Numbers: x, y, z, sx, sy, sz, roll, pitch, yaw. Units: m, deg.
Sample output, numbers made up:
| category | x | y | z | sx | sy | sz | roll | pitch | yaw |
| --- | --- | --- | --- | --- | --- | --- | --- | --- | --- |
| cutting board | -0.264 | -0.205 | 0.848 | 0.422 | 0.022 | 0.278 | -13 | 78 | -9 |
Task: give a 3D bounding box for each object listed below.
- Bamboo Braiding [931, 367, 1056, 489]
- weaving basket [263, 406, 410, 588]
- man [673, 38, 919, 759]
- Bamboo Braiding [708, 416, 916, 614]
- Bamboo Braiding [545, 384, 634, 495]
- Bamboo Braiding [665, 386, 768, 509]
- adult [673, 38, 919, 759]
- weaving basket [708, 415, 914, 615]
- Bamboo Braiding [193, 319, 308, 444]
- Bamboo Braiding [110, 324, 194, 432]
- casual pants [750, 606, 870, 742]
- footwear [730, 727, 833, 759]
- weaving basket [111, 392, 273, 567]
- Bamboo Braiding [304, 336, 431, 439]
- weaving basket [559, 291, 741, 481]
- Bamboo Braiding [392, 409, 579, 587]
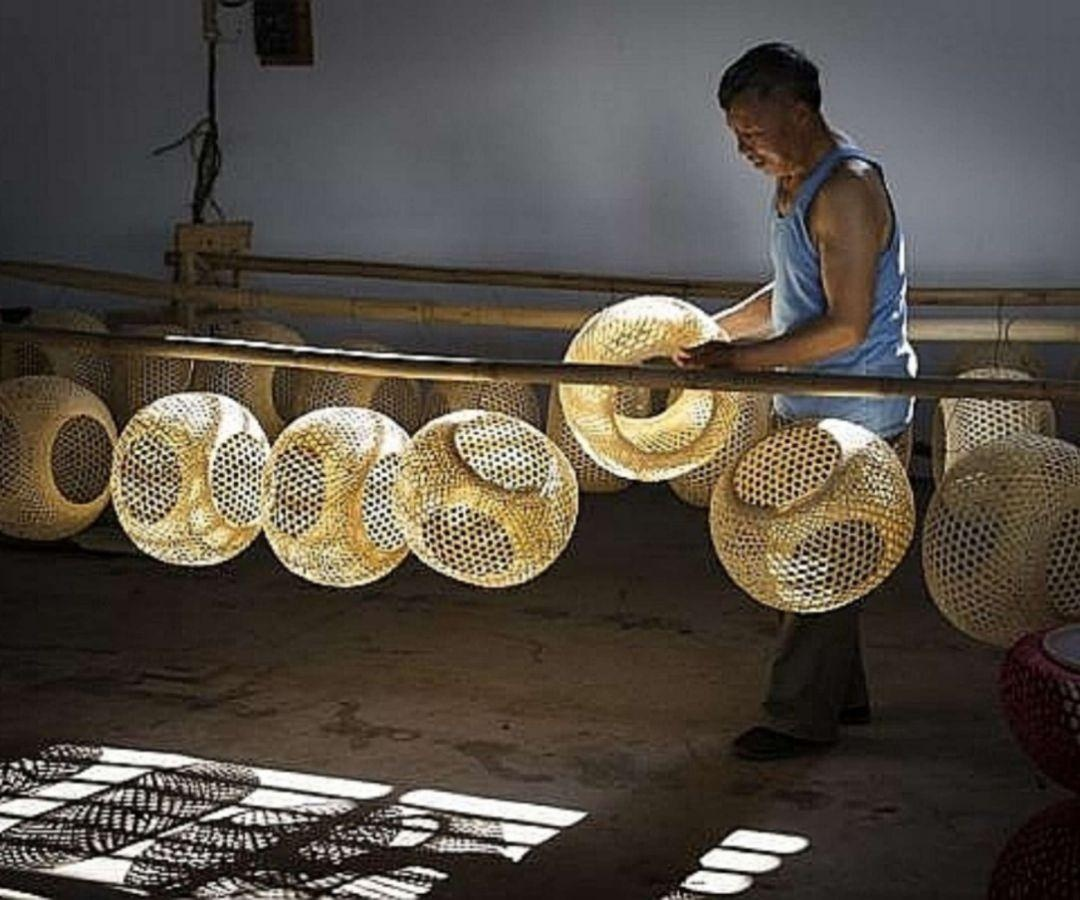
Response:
| category | x | y | z | sx | sy | sz | roll | pitch | yaw |
| --- | --- | --- | --- | --- | --- | --- | --- | --- | --- |
| Bamboo Braiding | 0.707 | -0.035 | 1.940 | 0.160 | 0.189 | 0.192 | 8 | -30 | -2 |
| weaving basket | -0.352 | 0.085 | 2.075 | 0.248 | 0.257 | 0.094 | 1 | 0 | -14 |
| man | 0.412 | -0.056 | 1.954 | 0.387 | 1.114 | 0.374 | 1 | 12 | 13 |
| Bamboo Braiding | 0.411 | 0.093 | 1.785 | 0.278 | 0.290 | 0.141 | -35 | -22 | 13 |
| Bamboo Braiding | 0.061 | -0.005 | 2.206 | 0.038 | 0.174 | 0.187 | -21 | 12 | 42 |
| Bamboo Braiding | 0.317 | 0.003 | 2.063 | 0.044 | 0.179 | 0.180 | 34 | -30 | -17 |
| adult | 0.407 | -0.057 | 1.947 | 0.379 | 1.103 | 0.392 | 5 | 13 | 32 |
| weaving basket | 0.400 | 0.097 | 1.765 | 0.277 | 0.277 | 0.093 | 1 | 0 | 18 |
| Bamboo Braiding | -0.541 | -0.119 | 2.473 | 0.325 | 0.113 | 0.329 | 18 | 4 | -25 |
| Bamboo Braiding | -0.768 | -0.139 | 2.350 | 0.196 | 0.195 | 0.046 | 11 | 8 | 35 |
| casual pants | 0.417 | 0.343 | 1.815 | 0.180 | 0.246 | 0.132 | -2 | 10 | -39 |
| footwear | 0.371 | 0.437 | 1.858 | 0.159 | 0.060 | 0.071 | 0 | 9 | 14 |
| weaving basket | -0.650 | 0.056 | 2.185 | 0.282 | 0.246 | 0.103 | 1 | 0 | 11 |
| Bamboo Braiding | -0.338 | -0.104 | 2.264 | 0.178 | 0.191 | 0.189 | 2 | -5 | -4 |
| weaving basket | 0.190 | -0.099 | 1.972 | 0.278 | 0.304 | 0.085 | -2 | 8 | -2 |
| Bamboo Braiding | -0.070 | 0.090 | 2.021 | 0.302 | 0.324 | 0.167 | 8 | -35 | 2 |
